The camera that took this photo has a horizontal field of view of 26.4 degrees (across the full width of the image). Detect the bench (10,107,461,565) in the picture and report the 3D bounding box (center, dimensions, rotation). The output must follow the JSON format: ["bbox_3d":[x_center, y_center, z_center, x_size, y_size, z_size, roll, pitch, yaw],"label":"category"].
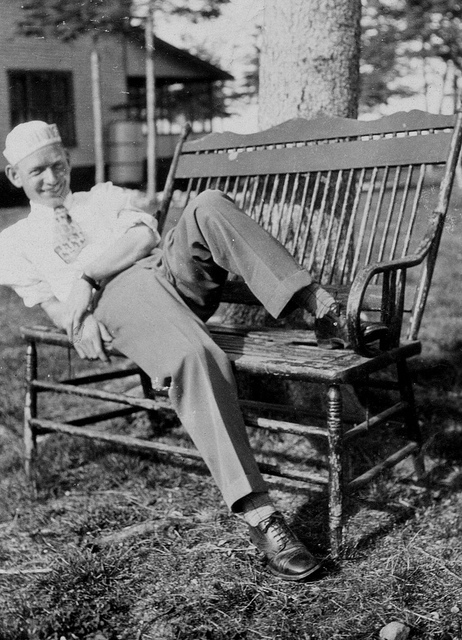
[{"bbox_3d":[-0.012,0.091,3.833,1.781,1.628,1.127,5,9,32],"label":"bench"}]

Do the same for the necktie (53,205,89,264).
[{"bbox_3d":[-0.641,-0.323,3.874,0.139,0.227,0.031,-22,-14,-27],"label":"necktie"}]

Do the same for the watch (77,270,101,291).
[{"bbox_3d":[-0.534,-0.141,3.691,0.034,0.096,0.068,-51,5,-21],"label":"watch"}]
